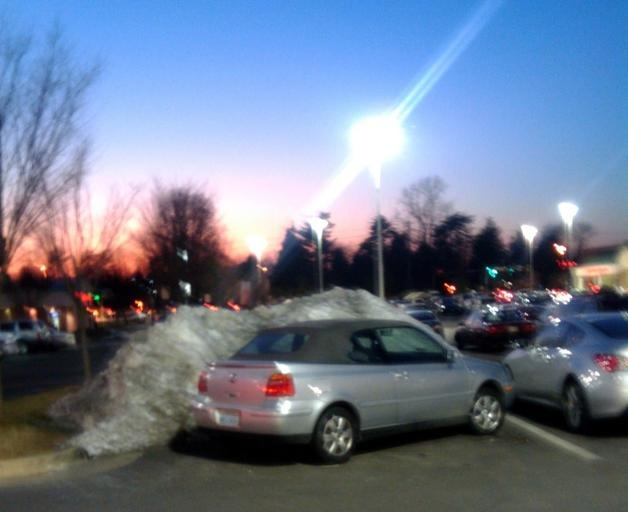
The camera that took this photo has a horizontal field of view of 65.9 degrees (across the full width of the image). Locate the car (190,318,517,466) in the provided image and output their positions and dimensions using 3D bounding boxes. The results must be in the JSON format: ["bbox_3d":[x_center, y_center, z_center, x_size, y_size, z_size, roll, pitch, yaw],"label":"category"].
[{"bbox_3d":[0.596,1.730,6.484,3.977,1.782,1.138,0,-4,-28],"label":"car"}]

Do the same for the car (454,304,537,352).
[{"bbox_3d":[7.234,2.835,19.277,1.927,1.560,4.433,-2,5,20],"label":"car"}]
